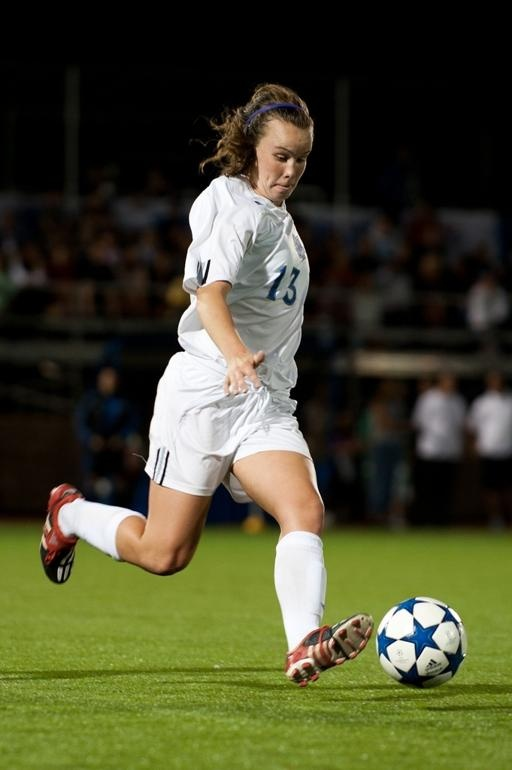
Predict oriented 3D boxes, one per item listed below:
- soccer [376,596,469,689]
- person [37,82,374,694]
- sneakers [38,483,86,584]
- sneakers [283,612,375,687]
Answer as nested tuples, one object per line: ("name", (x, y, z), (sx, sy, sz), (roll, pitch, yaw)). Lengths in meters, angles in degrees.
("soccer", (0.571, 0.862, 3.055), (0.314, 0.262, 0.295), (9, -22, -36))
("person", (-0.126, -0.140, 2.905), (0.676, 1.688, 1.312), (3, 9, -18))
("sneakers", (-0.830, 0.611, 3.695), (0.176, 0.418, 0.190), (3, 25, -16))
("sneakers", (0.184, 0.713, 2.433), (0.199, 0.261, 0.116), (13, 11, 41))
